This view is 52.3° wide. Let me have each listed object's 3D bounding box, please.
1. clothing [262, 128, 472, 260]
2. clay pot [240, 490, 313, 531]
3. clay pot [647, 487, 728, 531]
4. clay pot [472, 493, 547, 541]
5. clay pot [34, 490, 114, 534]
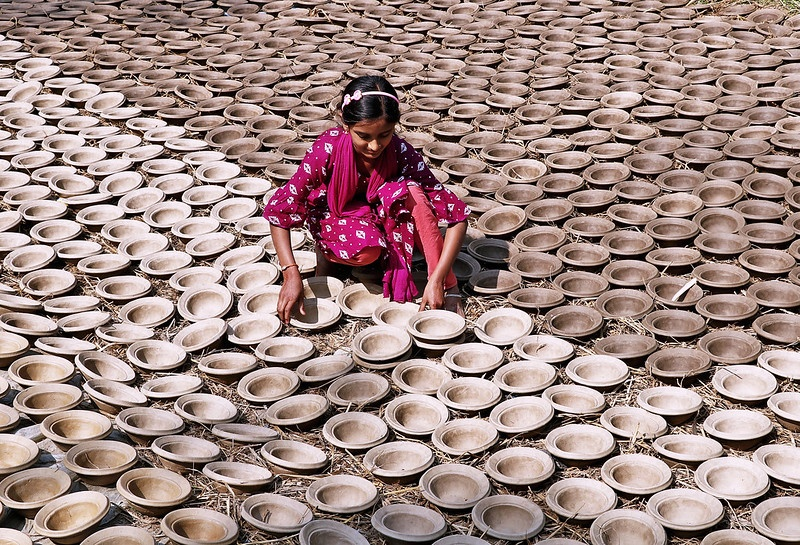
[{"bbox_3d":[-0.226,-0.539,4.722,1.380,0.458,0.584,-3,37,-27],"label":"clothing"},{"bbox_3d":[-0.563,1.094,3.706,0.326,0.088,0.200,9,29,15],"label":"clay pot"},{"bbox_3d":[1.297,1.091,3.696,0.340,0.084,0.289,-11,14,-13],"label":"clay pot"},{"bbox_3d":[0.488,1.103,3.693,0.321,0.105,0.204,2,28,3],"label":"clay pot"},{"bbox_3d":[-1.482,1.073,3.671,0.224,0.062,0.215,-4,25,2],"label":"clay pot"}]
